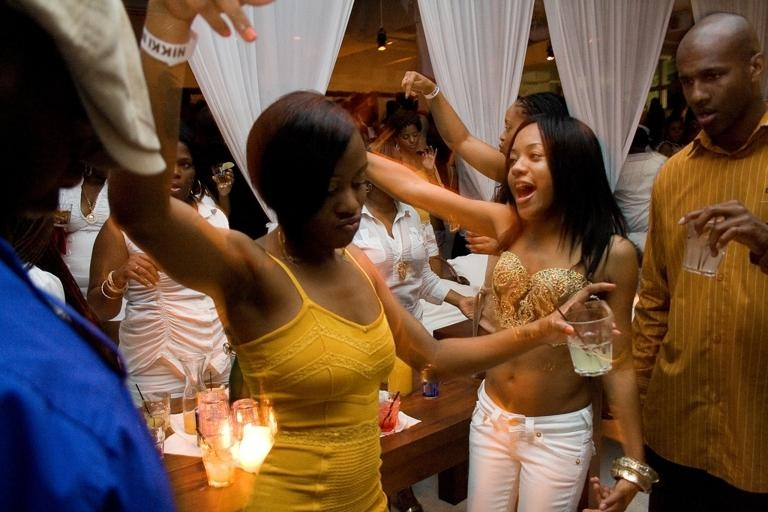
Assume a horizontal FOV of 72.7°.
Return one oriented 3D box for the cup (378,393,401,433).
[{"bbox_3d":[0.024,0.692,2.291,0.123,0.152,0.146,-1,-4,-8],"label":"cup"}]
